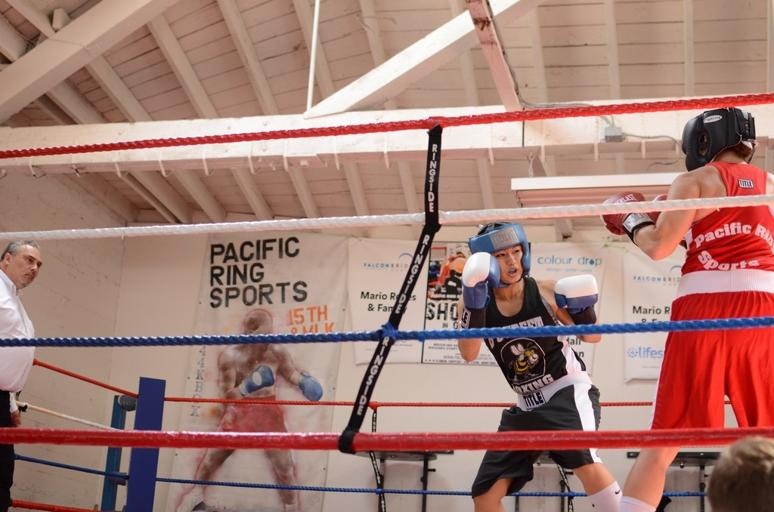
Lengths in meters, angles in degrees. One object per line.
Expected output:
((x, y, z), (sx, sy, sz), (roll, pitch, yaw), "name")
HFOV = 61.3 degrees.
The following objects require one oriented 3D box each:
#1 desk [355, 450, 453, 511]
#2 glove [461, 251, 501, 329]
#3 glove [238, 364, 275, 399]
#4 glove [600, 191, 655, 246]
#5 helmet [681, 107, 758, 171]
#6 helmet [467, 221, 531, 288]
((0.225, 1.994, 5.824), (0.712, 0.557, 0.794), (3, -22, 6), "desk")
((0.413, 0.149, 2.862), (0.150, 0.325, 0.227), (2, -24, 10), "glove")
((-1.313, 1.258, 6.622), (0.381, 0.205, 0.132), (-33, -22, 3), "glove")
((0.952, -0.160, 2.535), (0.196, 0.108, 0.245), (-24, 13, 8), "glove")
((1.341, -0.462, 2.627), (0.223, 0.211, 0.264), (2, -2, -32), "helmet")
((0.552, -0.019, 3.230), (0.296, 0.294, 0.335), (-18, 3, -12), "helmet")
